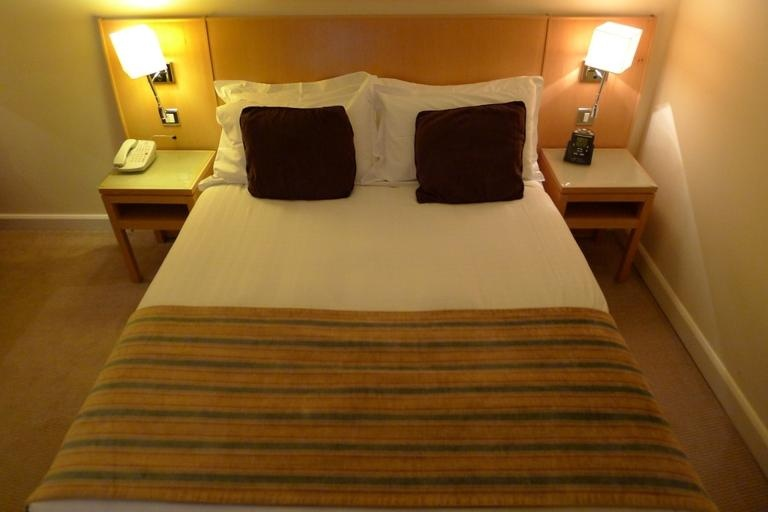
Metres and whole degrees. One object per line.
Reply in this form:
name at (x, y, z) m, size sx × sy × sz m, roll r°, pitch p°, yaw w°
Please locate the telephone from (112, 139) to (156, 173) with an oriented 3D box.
telephone at (-1.665, -0.698, 3.726) m, size 0.209 × 0.107 × 0.274 m, roll 1°, pitch 49°, yaw 4°
